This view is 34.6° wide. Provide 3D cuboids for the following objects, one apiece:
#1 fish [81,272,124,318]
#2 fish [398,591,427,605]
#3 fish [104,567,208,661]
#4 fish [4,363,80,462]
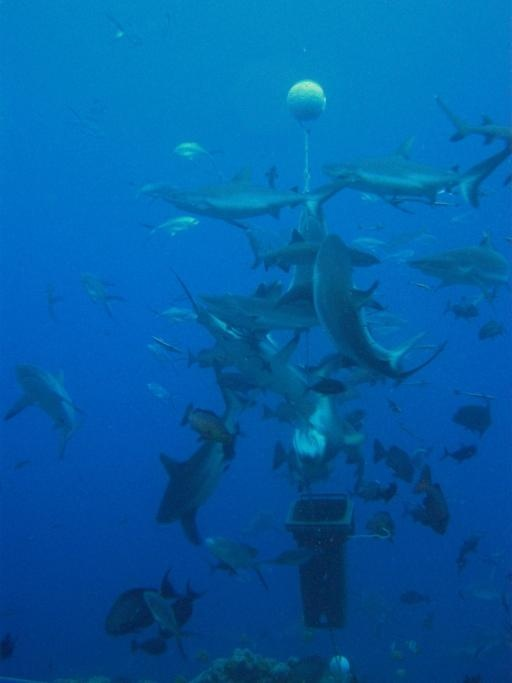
[{"bbox_3d":[-0.960,-0.280,5.145,0.250,0.195,0.150,-2,-1,-12],"label":"fish"},{"bbox_3d":[0.951,1.538,4.920,0.167,0.080,0.078,-2,-2,-13],"label":"fish"},{"bbox_3d":[-0.469,1.579,4.683,0.567,0.404,0.220,25,-23,-36],"label":"fish"},{"bbox_3d":[-1.342,0.435,5.061,0.436,0.424,0.293,-3,-1,-1],"label":"fish"}]
